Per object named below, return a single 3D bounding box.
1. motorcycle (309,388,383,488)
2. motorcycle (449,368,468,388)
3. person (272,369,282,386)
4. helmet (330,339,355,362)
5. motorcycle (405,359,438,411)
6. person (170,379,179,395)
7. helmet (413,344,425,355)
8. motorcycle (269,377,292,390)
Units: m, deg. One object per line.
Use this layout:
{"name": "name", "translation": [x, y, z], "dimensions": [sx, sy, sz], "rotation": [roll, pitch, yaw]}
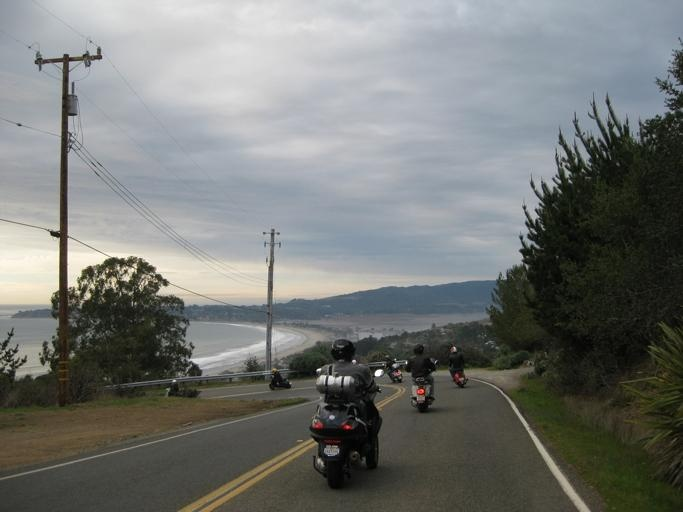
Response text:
{"name": "motorcycle", "translation": [0.127, 3.756, 12.563], "dimensions": [0.810, 1.627, 1.358], "rotation": [-12, -12, 36]}
{"name": "motorcycle", "translation": [5.972, 6.101, 31.351], "dimensions": [0.642, 0.799, 1.327], "rotation": [-23, -12, -12]}
{"name": "person", "translation": [-3.834, 7.573, 38.819], "dimensions": [0.570, 1.112, 1.380], "rotation": [-4, -11, -6]}
{"name": "helmet", "translation": [0.070, 1.984, 13.184], "dimensions": [0.375, 0.479, 0.458], "rotation": [4, 19, 14]}
{"name": "motorcycle", "translation": [2.806, 4.444, 21.723], "dimensions": [0.926, 1.701, 2.484], "rotation": [-2, 1, 8]}
{"name": "person", "translation": [-8.533, 6.921, 32.500], "dimensions": [0.498, 0.781, 0.530], "rotation": [-3, -10, -6]}
{"name": "helmet", "translation": [2.627, 3.189, 20.958], "dimensions": [0.309, 0.381, 0.391], "rotation": [2, 8, 15]}
{"name": "motorcycle", "translation": [-3.703, 7.924, 38.632], "dimensions": [1.066, 0.619, 0.628], "rotation": [2, 1, -19]}
